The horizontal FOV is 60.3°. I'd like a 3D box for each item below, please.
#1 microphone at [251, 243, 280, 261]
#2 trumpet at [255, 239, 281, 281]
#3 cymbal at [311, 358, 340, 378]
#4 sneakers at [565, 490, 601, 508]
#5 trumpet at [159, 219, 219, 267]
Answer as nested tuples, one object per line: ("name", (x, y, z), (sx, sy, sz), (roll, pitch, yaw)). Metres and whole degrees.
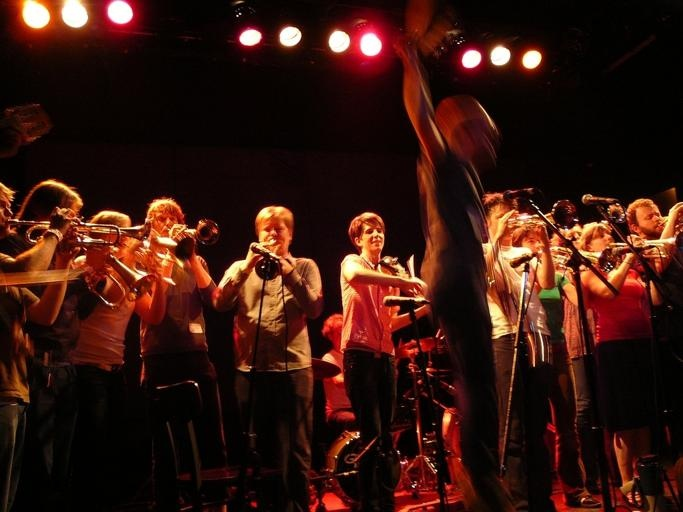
("microphone", (-0.669, -0.047, 5.063), (0.256, 0.183, 0.111), (-4, -31, 5))
("trumpet", (-0.553, 0.027, 5.023), (0.213, 0.288, 0.384), (10, 5, -13))
("cymbal", (-0.155, 1.195, 6.214), (0.285, 0.116, 0.711), (-1, -32, 0))
("sneakers", (2.265, 2.267, 5.519), (0.267, 0.123, 0.140), (-5, -7, 20))
("trumpet", (-1.450, -0.175, 5.560), (0.550, 0.357, 0.236), (3, -31, -6))
